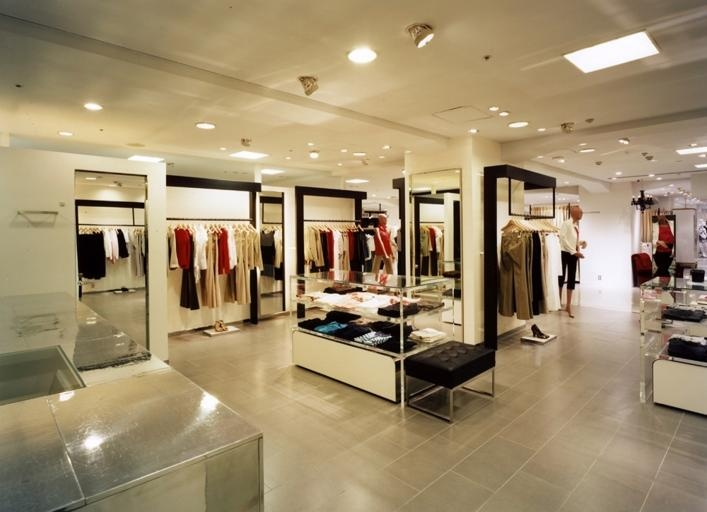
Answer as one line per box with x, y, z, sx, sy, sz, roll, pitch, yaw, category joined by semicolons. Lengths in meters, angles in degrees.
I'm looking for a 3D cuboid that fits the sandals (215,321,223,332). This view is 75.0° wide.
-2.302;1.204;7.891;0.138;0.164;0.173;-5;-9;29;sandals

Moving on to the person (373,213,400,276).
0.645;-0.204;9.206;0.470;1.280;1.120;0;10;6;person

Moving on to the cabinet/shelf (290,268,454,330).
0.159;0.542;5.480;1.845;0.691;0.716;6;12;36;cabinet/shelf

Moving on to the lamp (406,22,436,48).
0.562;-1.786;3.736;0.189;0.138;0.171;-15;11;-28;lamp

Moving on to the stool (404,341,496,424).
1.030;1.281;4.917;0.876;0.576;0.619;-10;13;-42;stool

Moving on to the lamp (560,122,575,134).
2.882;-1.708;6.129;0.171;0.145;0.154;1;3;5;lamp

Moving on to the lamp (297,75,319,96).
-0.440;-1.693;4.605;0.209;0.165;0.295;-2;10;-6;lamp

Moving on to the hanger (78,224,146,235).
-3.035;-0.359;5.785;0.753;0.134;0.062;-10;13;-41;hanger

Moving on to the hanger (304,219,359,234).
-0.386;-0.606;8.920;0.340;0.263;1.343;8;14;43;hanger
